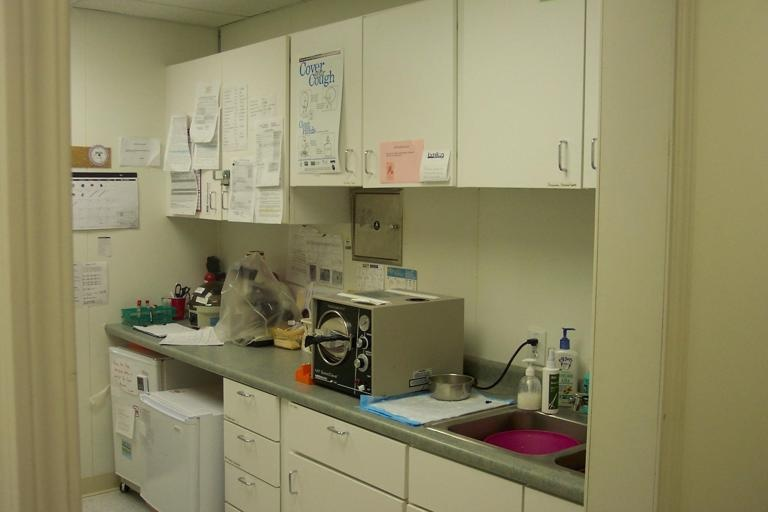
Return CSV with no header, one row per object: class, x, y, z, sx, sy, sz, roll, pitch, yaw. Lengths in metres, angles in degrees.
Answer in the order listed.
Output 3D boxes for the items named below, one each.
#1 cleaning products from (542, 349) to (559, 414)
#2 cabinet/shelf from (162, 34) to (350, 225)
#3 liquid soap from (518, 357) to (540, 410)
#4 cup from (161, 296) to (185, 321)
cleaning products,0.640,0.482,2.415,0.073,0.247,0.072,4,-2,-20
cabinet/shelf,-0.676,-0.670,3.387,0.440,0.913,1.243,1,0,-40
liquid soap,0.579,0.506,2.479,0.101,0.188,0.102,1,2,36
cup,-1.369,0.327,4.172,0.143,0.165,0.162,7,8,39
